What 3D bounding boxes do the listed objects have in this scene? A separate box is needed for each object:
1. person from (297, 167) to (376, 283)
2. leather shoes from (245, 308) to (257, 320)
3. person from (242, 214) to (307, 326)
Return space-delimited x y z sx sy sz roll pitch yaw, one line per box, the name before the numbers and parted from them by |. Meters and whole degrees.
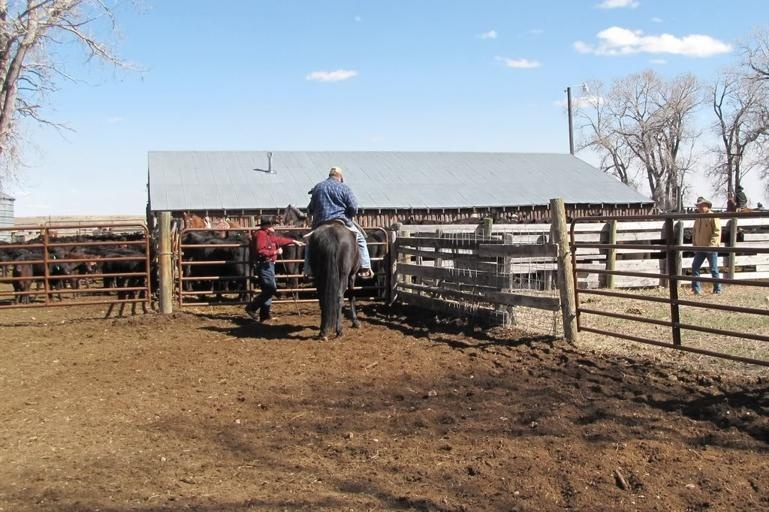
person | -0.886 -0.615 11.693 1.128 2.018 1.101 -2 9 -7
leather shoes | -2.550 1.103 12.293 0.150 0.245 0.326 -2 10 -7
person | -2.228 0.216 12.676 1.000 2.051 1.578 -3 11 -8
